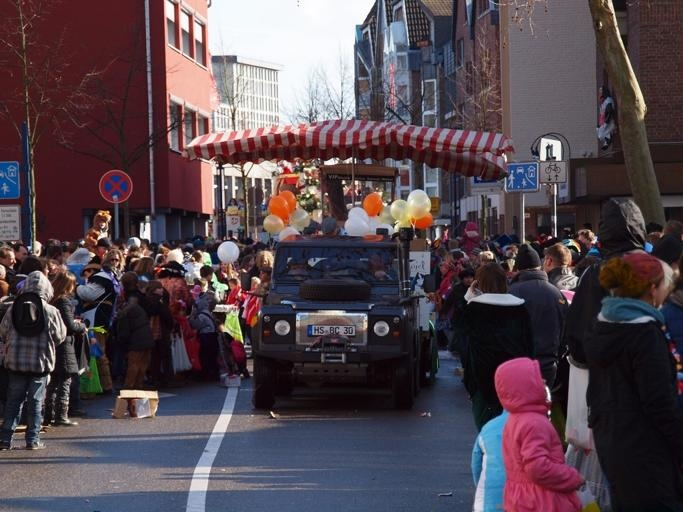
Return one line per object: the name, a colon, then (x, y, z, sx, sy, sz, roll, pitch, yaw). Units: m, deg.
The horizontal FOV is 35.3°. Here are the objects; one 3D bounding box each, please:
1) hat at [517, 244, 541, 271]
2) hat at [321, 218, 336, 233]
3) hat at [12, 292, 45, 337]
hat: (2.111, 0.017, 12.214, 0.206, 0.264, 0.299, -4, -6, 0)
hat: (-0.202, -0.522, 17.920, 0.177, 0.286, 0.154, 5, -19, 5)
hat: (-3.794, 0.728, 13.064, 0.349, 0.553, 0.144, 1, 1, -8)
